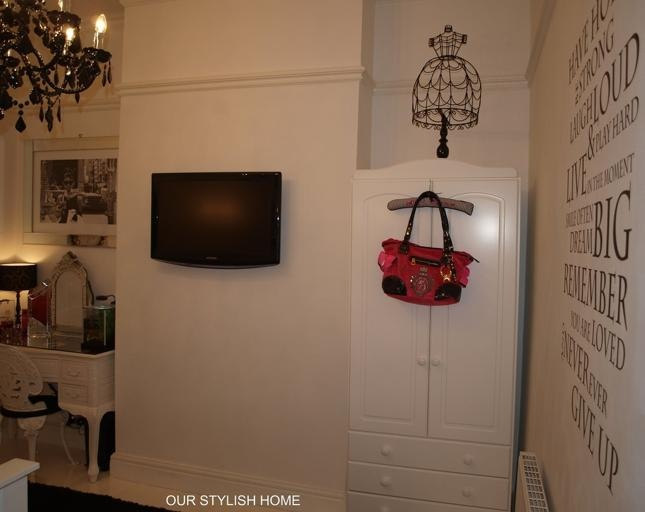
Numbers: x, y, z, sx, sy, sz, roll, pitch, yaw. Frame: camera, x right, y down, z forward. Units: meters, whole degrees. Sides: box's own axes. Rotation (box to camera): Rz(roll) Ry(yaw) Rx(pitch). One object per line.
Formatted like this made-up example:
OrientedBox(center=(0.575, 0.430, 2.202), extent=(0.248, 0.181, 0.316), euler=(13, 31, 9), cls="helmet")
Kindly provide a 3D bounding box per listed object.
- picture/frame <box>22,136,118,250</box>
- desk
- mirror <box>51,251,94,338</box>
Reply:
OrientedBox(center=(-2.037, -0.524, 4.193), extent=(0.988, 0.853, 0.045), euler=(1, 2, 20), cls="picture/frame")
OrientedBox(center=(-1.848, 1.073, 3.614), extent=(0.796, 0.835, 0.342), euler=(-1, -4, 19), cls="desk")
OrientedBox(center=(-2.051, 0.308, 4.162), extent=(0.266, 0.624, 0.023), euler=(2, 6, -8), cls="mirror")
